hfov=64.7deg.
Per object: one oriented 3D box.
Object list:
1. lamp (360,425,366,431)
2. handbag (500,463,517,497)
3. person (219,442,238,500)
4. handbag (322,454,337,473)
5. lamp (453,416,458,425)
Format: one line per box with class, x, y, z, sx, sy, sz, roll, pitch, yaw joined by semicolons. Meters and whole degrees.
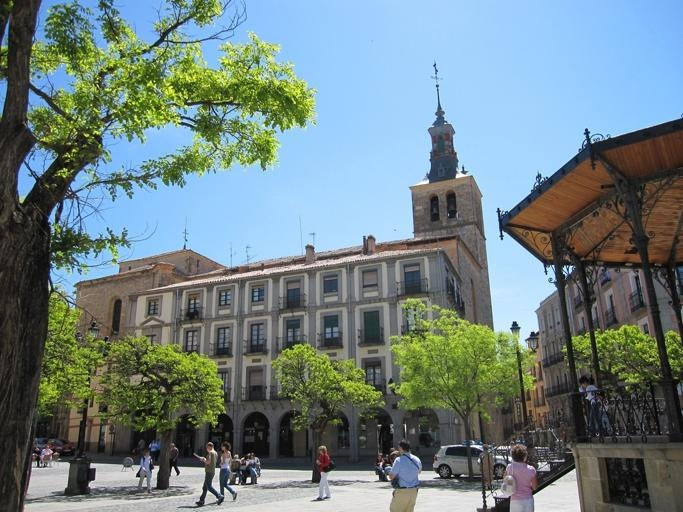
lamp;1.578;12.387;38.928;0.538;0.494;0.305;9;-23;-22
handbag;2.616;3.518;8.499;0.214;0.472;0.339;-4;-22;13
person;-3.558;6.699;16.803;0.569;1.679;0.561;6;-17;-16
handbag;-0.465;6.724;17.430;0.426;0.482;0.511;3;-22;-8
lamp;7.519;10.889;35.774;0.510;0.503;0.256;14;-18;-37
